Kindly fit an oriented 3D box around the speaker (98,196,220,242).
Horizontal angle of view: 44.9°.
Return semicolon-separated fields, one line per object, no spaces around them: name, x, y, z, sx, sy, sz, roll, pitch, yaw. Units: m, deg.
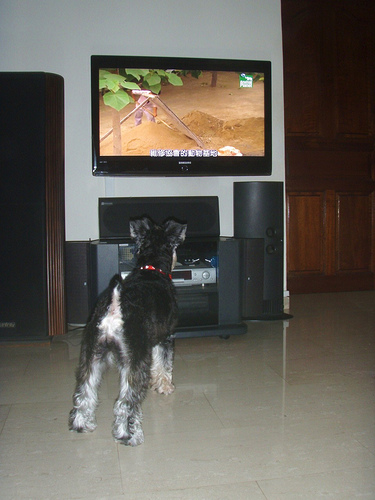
speaker;-0.158;-0.197;2.655;0.700;0.242;0.138;-2;5;-18

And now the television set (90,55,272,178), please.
television set;-0.081;-0.860;2.855;0.858;0.492;0.061;-1;11;-7

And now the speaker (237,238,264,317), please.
speaker;0.400;0.166;2.771;0.130;0.479;0.055;-1;5;-5
